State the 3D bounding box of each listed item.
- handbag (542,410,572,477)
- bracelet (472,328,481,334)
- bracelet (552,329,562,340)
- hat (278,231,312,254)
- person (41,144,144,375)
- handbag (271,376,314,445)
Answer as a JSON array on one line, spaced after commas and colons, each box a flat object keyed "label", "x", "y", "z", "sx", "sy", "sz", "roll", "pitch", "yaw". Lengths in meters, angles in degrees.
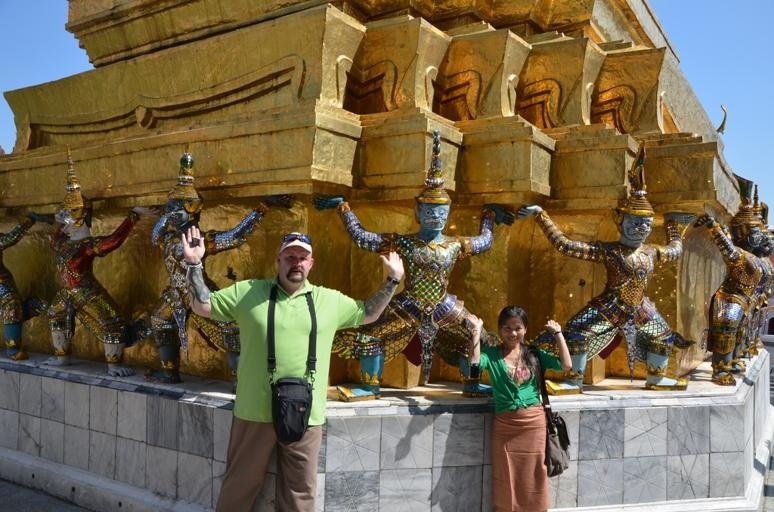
[{"label": "handbag", "x": 1.883, "y": 2.041, "z": 10.678, "sx": 0.139, "sy": 0.731, "sz": 0.337, "roll": -5, "pitch": -7, "yaw": 43}, {"label": "bracelet", "x": 0.999, "y": 0.845, "z": 10.833, "sx": 0.069, "sy": 0.062, "sz": 0.066, "roll": 2, "pitch": 0, "yaw": 7}, {"label": "bracelet", "x": 1.921, "y": 0.878, "z": 10.891, "sx": 0.094, "sy": 0.068, "sz": 0.092, "roll": -2, "pitch": -6, "yaw": 15}, {"label": "hat", "x": -0.947, "y": -0.146, "z": 10.223, "sx": 0.308, "sy": 0.231, "sz": 0.371, "roll": -4, "pitch": -6, "yaw": 33}, {"label": "person", "x": -3.822, "y": 0.120, "z": 12.427, "sx": 1.471, "sy": 2.817, "sz": 0.916, "roll": -4, "pitch": -7, "yaw": 38}, {"label": "handbag", "x": -0.999, "y": 1.574, "z": 9.950, "sx": 0.415, "sy": 0.653, "sz": 0.147, "roll": 0, "pitch": -5, "yaw": -5}]
